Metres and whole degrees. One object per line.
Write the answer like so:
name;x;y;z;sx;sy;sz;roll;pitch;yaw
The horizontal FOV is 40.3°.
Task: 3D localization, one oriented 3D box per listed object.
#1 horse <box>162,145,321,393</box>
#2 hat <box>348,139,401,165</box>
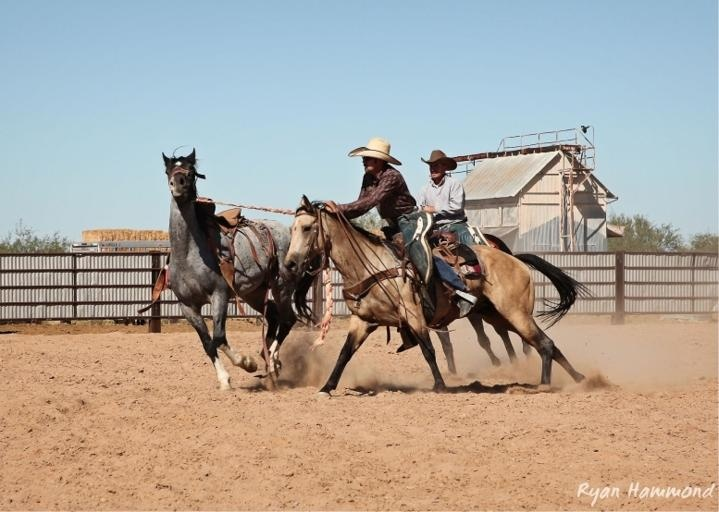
horse;-2.160;0.263;15.842;1.476;3.993;4.881;-4;-1;19
hat;0.188;-1.547;14.192;0.687;0.387;0.342;-1;0;0
